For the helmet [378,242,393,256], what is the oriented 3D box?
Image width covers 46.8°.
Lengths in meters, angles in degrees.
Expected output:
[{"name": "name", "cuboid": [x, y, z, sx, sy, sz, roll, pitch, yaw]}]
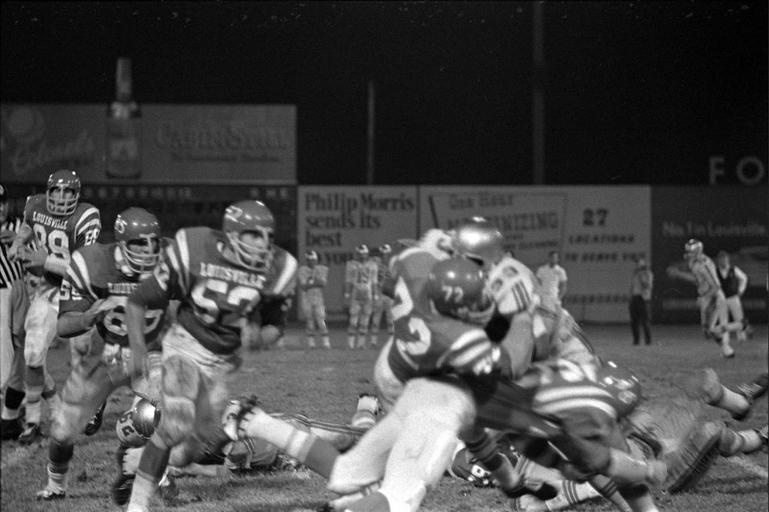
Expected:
[{"name": "helmet", "cuboid": [0.006, -0.088, 11.459, 0.181, 0.095, 0.235, -2, 3, 1]}]

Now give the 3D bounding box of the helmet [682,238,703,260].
[{"name": "helmet", "cuboid": [4.212, -0.087, 12.061, 0.246, 0.291, 0.320, -2, -3, 17]}]

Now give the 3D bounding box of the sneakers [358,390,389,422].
[{"name": "sneakers", "cuboid": [-0.104, 1.434, 8.527, 0.247, 0.133, 0.327, 27, -8, 20]}]

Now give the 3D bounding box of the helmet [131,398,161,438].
[{"name": "helmet", "cuboid": [-2.138, 1.440, 7.996, 0.279, 0.337, 0.314, 6, -7, -4]}]

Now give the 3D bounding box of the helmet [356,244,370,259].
[{"name": "helmet", "cuboid": [-0.285, -0.069, 11.675, 0.164, 0.205, 0.116, -1, -42, -6]}]

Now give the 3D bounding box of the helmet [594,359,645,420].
[{"name": "helmet", "cuboid": [2.101, 1.131, 7.807, 0.377, 0.530, 0.174, -37, -13, -44]}]

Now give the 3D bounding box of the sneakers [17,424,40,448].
[{"name": "sneakers", "cuboid": [-3.778, 1.881, 9.391, 0.145, 0.119, 0.250, 22, 26, -5]}]

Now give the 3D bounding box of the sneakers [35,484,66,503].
[{"name": "sneakers", "cuboid": [-3.082, 2.180, 8.153, 0.246, 0.096, 0.122, 17, -27, -19]}]

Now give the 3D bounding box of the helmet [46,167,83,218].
[{"name": "helmet", "cuboid": [-3.387, -0.693, 9.475, 0.369, 0.452, 0.490, 8, 22, -16]}]
